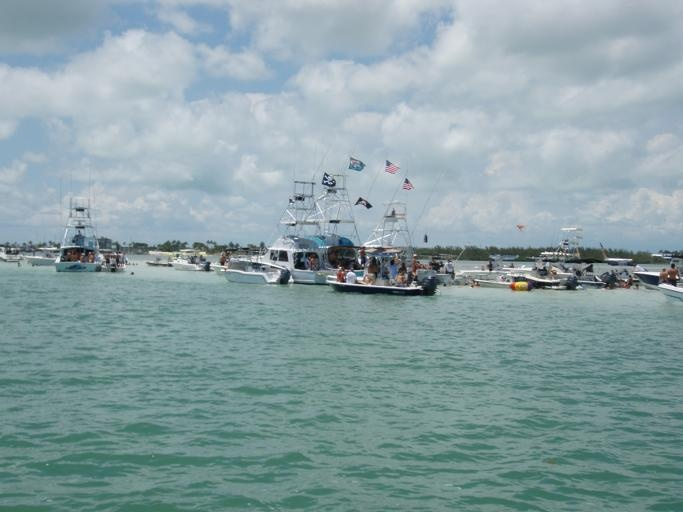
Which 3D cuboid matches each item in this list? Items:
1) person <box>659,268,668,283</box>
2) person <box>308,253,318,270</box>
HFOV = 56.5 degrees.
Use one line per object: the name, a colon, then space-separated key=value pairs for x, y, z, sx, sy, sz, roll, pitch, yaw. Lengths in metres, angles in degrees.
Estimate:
person: x=25.844 y=1.661 z=50.938 sx=0.419 sy=1.215 sz=2.030 roll=5 pitch=10 yaw=22
person: x=-2.553 y=0.498 z=59.479 sx=0.871 sy=1.320 sz=1.605 roll=1 pitch=10 yaw=-1
